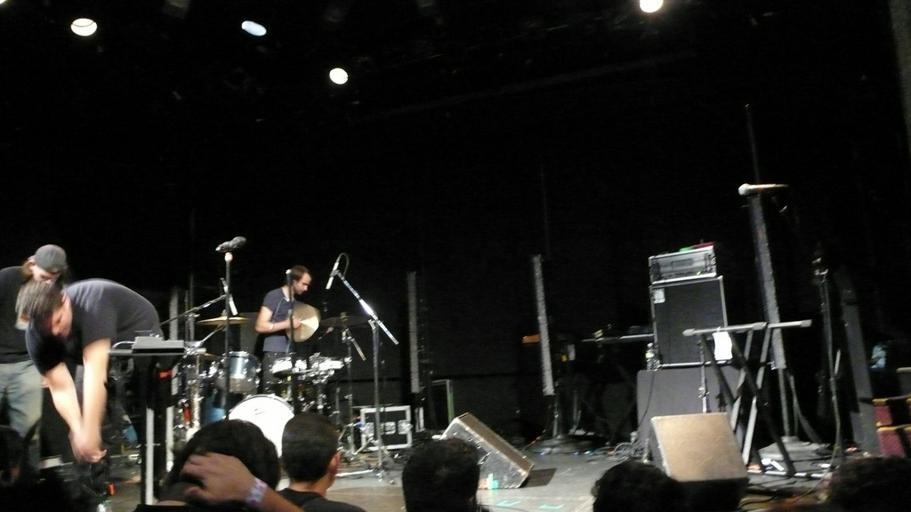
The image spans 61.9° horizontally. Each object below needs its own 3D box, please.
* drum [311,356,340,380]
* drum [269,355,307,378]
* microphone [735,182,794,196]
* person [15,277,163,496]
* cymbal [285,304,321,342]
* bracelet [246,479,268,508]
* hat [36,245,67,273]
[{"bbox_3d":[-1.588,1.365,9.341,0.383,0.220,0.133,-5,3,-18],"label":"drum"},{"bbox_3d":[-1.969,1.335,9.174,0.328,0.124,0.427,2,-6,-33],"label":"drum"},{"bbox_3d":[3.599,-0.774,8.787,0.811,0.144,0.164,-7,-4,-18],"label":"microphone"},{"bbox_3d":[-3.453,1.035,7.006,1.136,1.619,0.380,-3,-11,4],"label":"person"},{"bbox_3d":[-1.892,0.821,9.674,0.313,0.487,0.304,-1,-11,-5],"label":"cymbal"},{"bbox_3d":[-1.474,1.766,5.661,0.190,0.179,0.060,40,-26,-32],"label":"bracelet"},{"bbox_3d":[-3.778,0.022,7.089,0.304,0.157,0.231,35,26,32],"label":"hat"}]
